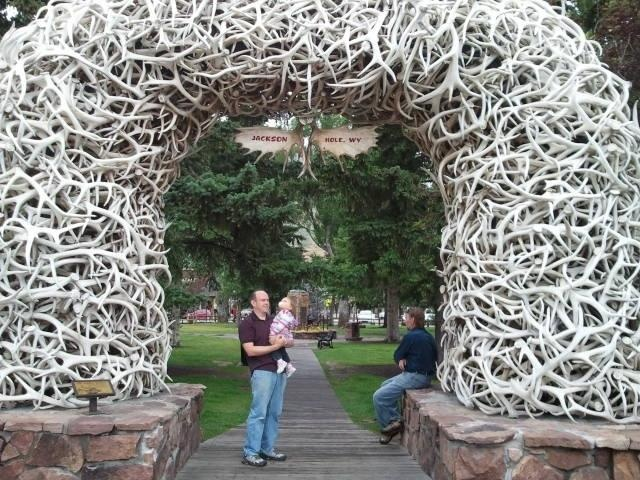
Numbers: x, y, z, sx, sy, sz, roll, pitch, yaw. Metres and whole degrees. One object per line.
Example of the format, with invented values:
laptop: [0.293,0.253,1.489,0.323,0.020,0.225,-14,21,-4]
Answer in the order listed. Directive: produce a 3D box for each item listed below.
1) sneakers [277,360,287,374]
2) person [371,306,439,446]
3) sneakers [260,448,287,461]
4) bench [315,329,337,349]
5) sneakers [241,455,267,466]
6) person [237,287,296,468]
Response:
sneakers: [-0.455,1.463,7.290,0.086,0.189,0.071,21,-34,9]
person: [1.117,1.772,8.297,0.828,1.139,0.779,-2,-2,9]
sneakers: [-0.541,2.487,7.322,0.317,0.137,0.115,1,-5,1]
bench: [0.199,4.043,25.734,0.755,1.017,1.040,-8,-13,38]
sneakers: [-0.739,2.457,7.040,0.279,0.135,0.110,1,-1,9]
person: [-0.636,1.557,7.287,0.641,1.965,0.486,-1,-2,-23]
